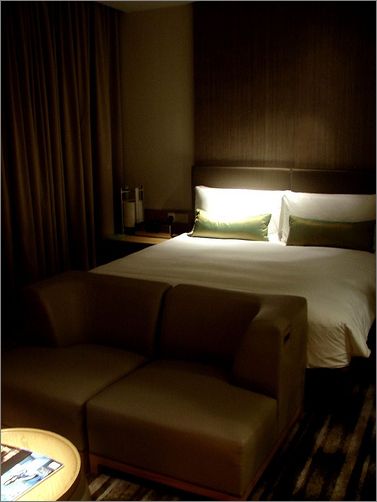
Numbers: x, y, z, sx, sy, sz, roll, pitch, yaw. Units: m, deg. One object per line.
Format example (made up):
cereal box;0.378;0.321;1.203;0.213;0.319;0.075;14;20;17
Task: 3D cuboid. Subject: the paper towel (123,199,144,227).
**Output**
paper towel;-0.586;-0.450;4.093;0.198;0.331;0.244;-1;15;0
